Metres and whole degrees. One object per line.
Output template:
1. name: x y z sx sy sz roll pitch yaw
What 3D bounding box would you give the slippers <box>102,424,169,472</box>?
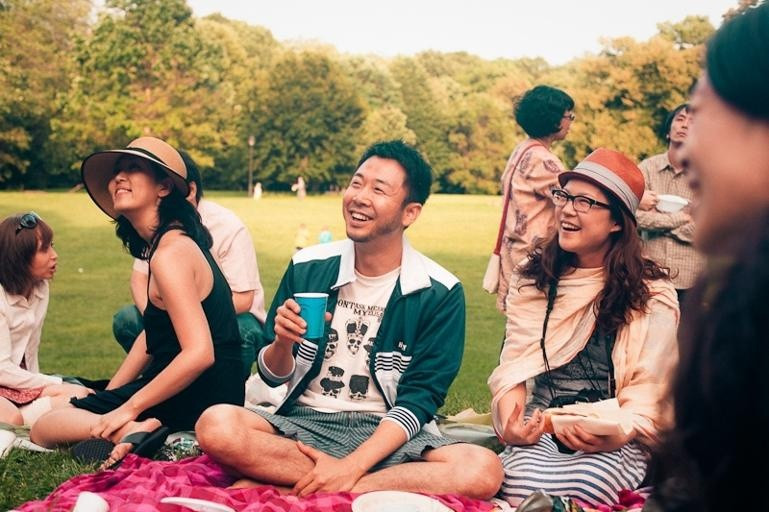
1. slippers: -1.754 1.341 5.253 0.163 0.118 0.435 7 20 33

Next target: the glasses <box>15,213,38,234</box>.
1. glasses: -3.105 -0.307 6.432 0.188 0.070 0.143 -36 -8 23

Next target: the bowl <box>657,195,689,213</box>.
1. bowl: 2.649 -0.468 6.805 0.210 0.084 0.188 14 0 -41

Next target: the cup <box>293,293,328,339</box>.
1. cup: -0.450 0.382 4.846 0.262 0.296 0.267 -3 -4 0
